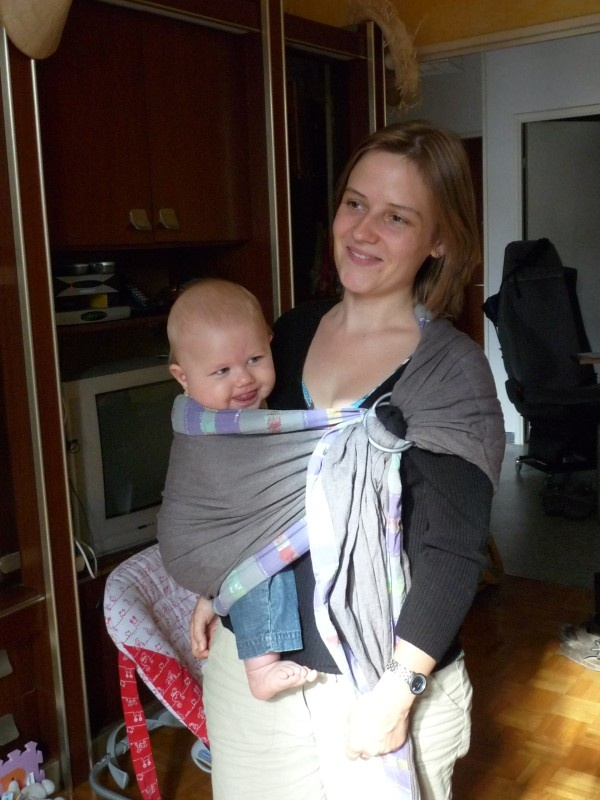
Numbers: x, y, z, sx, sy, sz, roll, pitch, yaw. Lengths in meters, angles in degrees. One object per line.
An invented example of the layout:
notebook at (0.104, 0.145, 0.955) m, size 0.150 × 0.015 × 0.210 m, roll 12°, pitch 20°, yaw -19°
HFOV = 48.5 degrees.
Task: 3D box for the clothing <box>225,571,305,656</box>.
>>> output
clothing at (-0.040, 0.271, 0.849) m, size 0.077 × 0.097 × 0.053 m, roll -28°, pitch -22°, yaw 9°

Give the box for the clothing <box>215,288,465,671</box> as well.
clothing at (0.087, 0.111, 1.027) m, size 0.196 × 0.568 × 0.316 m, roll 9°, pitch -7°, yaw -40°
